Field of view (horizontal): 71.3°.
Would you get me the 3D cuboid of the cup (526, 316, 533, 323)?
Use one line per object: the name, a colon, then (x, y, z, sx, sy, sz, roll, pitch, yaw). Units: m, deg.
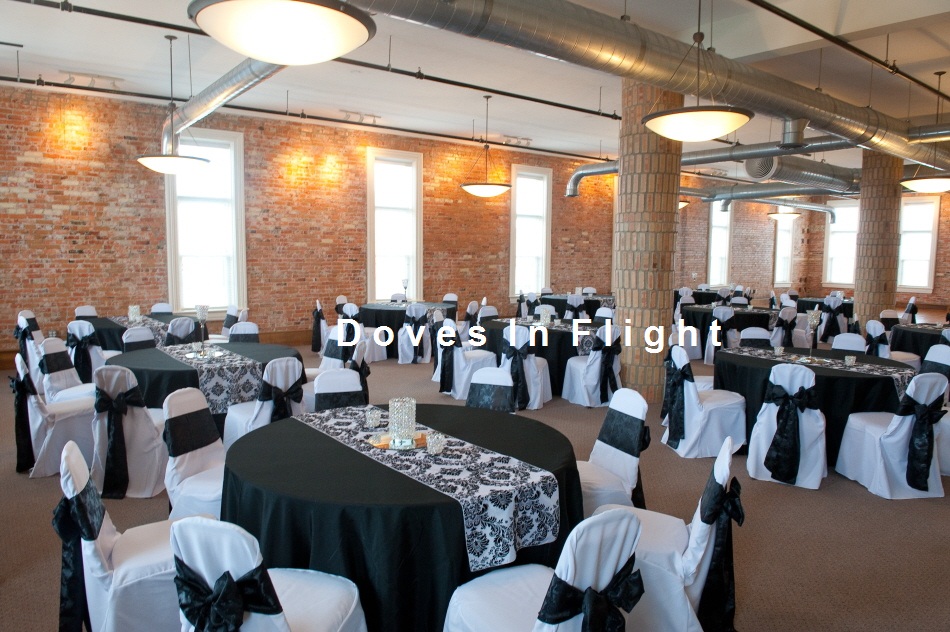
cup: (0.854, 0.057, 10.709, 0.115, 0.083, 0.087, -4, 9, -20)

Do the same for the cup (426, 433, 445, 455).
cup: (-0.313, 1.020, 5.308, 0.133, 0.133, 0.130, 0, 5, 0)

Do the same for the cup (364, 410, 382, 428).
cup: (-0.888, 0.863, 5.644, 0.151, 0.158, 0.148, 0, 5, 0)

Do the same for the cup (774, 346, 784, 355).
cup: (3.696, 0.428, 8.151, 0.126, 0.100, 0.125, 0, 3, 0)

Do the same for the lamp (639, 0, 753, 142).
lamp: (2.442, -2.781, 7.177, 1.005, 1.817, 1.986, 3, 6, 23)

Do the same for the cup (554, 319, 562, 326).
cup: (1.250, 0.110, 10.288, 0.110, 0.090, 0.118, 0, 2, 0)

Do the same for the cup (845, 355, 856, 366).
cup: (4.248, 0.510, 7.641, 0.116, 0.102, 0.125, 0, 2, 0)
